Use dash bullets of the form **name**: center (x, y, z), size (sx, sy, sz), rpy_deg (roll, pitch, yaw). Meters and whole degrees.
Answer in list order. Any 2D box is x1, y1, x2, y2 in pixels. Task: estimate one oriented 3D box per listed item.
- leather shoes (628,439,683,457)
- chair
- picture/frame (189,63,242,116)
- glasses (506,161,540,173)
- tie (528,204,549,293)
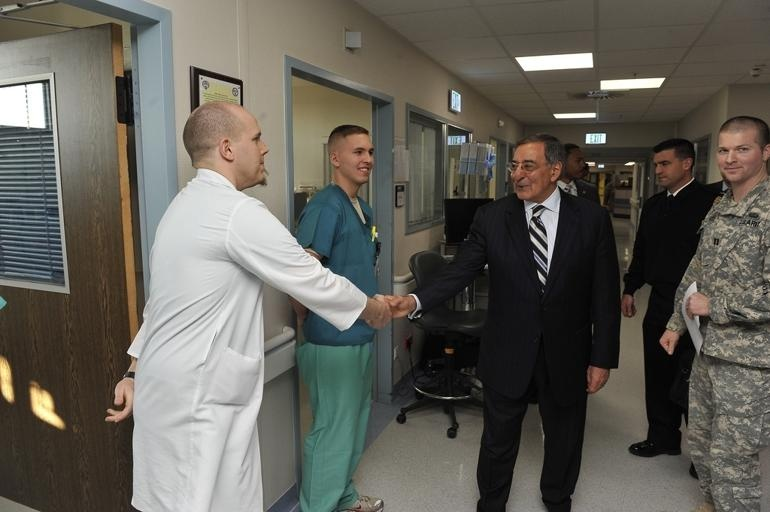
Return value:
- **leather shoes**: center (1.965, 1.412, 3.842), size (0.331, 0.154, 0.148), rpy_deg (3, 5, 8)
- **chair**: center (0.559, 0.684, 4.459), size (0.798, 1.398, 0.854), rpy_deg (7, 9, 42)
- **picture/frame**: center (-0.874, -0.847, 2.669), size (0.028, 0.251, 0.432), rpy_deg (3, 5, 20)
- **glasses**: center (0.785, -0.526, 3.091), size (0.116, 0.061, 0.306), rpy_deg (2, 8, -7)
- **tie**: center (0.887, -0.059, 3.025), size (0.095, 0.474, 0.137), rpy_deg (-5, 10, -43)
